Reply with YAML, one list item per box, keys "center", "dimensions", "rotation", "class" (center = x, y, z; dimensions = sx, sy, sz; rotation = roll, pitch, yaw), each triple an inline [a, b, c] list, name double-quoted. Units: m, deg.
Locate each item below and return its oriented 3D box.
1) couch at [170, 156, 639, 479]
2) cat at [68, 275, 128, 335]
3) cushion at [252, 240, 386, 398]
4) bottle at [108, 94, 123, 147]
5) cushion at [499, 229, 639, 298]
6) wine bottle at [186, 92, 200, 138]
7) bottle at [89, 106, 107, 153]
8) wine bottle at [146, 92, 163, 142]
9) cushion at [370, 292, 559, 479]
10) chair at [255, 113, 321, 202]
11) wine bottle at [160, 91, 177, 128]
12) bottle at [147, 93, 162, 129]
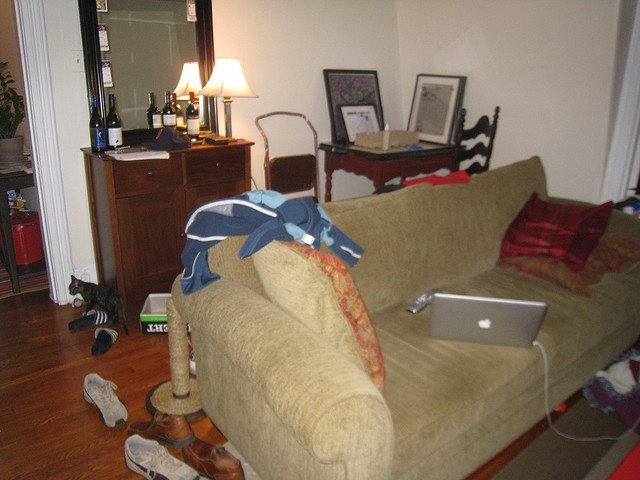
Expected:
- center: [0.566, 0.415, 2.595]
  dimensions: [2.225, 1.142, 0.988]
  rotation: [-13, 25, -31]
  class: "couch"
- center: [-1.432, 0.409, 3.388]
  dimensions: [0.476, 0.272, 0.109]
  rotation: [16, 21, 18]
  class: "cat"
- center: [-0.118, 0.267, 2.121]
  dimensions: [0.175, 0.599, 0.572]
  rotation: [-29, 54, 11]
  class: "cushion"
- center: [-1.367, -0.784, 3.440]
  dimensions: [0.085, 0.319, 0.213]
  rotation: [-8, 22, -20]
  class: "bottle"
- center: [1.525, 0.117, 2.966]
  dimensions: [0.411, 0.071, 0.480]
  rotation: [10, 40, 44]
  class: "cushion"
- center: [-0.924, -0.859, 3.783]
  dimensions: [0.092, 0.228, 0.071]
  rotation: [-6, 22, -16]
  class: "wine bottle"
- center: [-1.431, -0.714, 3.366]
  dimensions: [0.098, 0.260, 0.215]
  rotation: [-8, 23, -21]
  class: "bottle"
- center: [-1.162, -0.857, 3.643]
  dimensions: [0.078, 0.322, 0.116]
  rotation: [4, 21, 9]
  class: "wine bottle"
- center: [0.503, 0.624, 2.444]
  dimensions: [0.937, 0.312, 0.616]
  rotation: [-14, 25, -33]
  class: "cushion"
- center: [-0.216, -0.505, 4.027]
  dimensions: [0.431, 0.945, 0.301]
  rotation: [-9, 13, -17]
  class: "chair"
- center: [-1.079, -0.926, 3.700]
  dimensions: [0.129, 0.241, 0.060]
  rotation: [-10, 23, -24]
  class: "wine bottle"
- center: [-1.162, -0.901, 3.647]
  dimensions: [0.113, 0.237, 0.062]
  rotation: [-11, 24, -27]
  class: "bottle"
